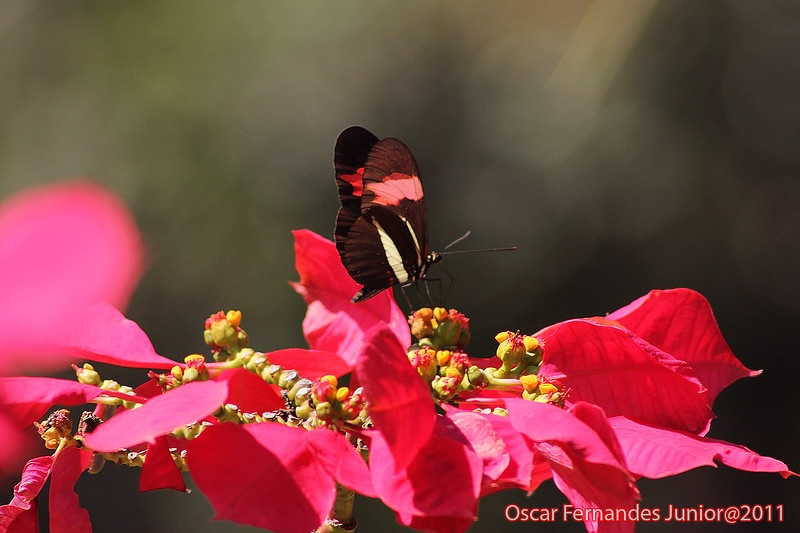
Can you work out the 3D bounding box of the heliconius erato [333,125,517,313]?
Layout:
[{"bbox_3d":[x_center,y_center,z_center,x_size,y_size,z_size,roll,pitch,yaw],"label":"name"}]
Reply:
[{"bbox_3d":[0.069,-0.098,1.518,0.388,0.419,0.193,0,-3,-6],"label":"heliconius erato"}]
